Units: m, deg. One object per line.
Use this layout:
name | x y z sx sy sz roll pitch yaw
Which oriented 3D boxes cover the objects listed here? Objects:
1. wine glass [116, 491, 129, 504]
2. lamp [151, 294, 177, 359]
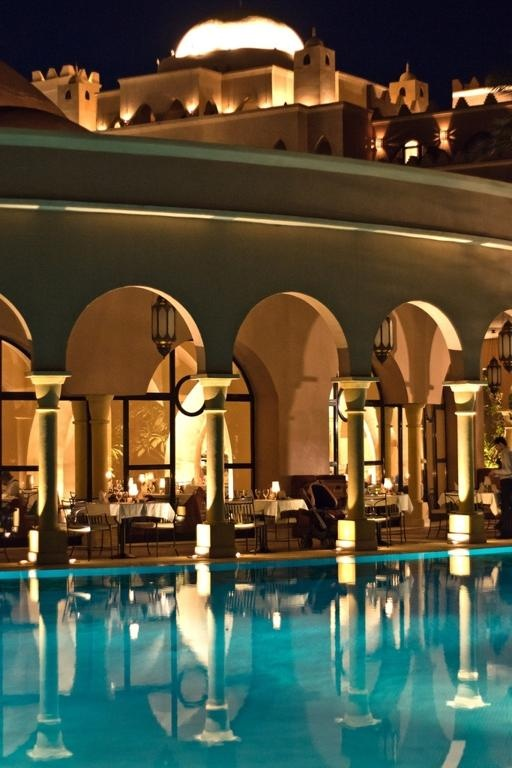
wine glass | -2.015 1.717 14.581 0.115 0.177 0.140 1 -13 0
lamp | -1.368 -0.864 14.128 0.302 0.842 0.311 0 -3 -3
